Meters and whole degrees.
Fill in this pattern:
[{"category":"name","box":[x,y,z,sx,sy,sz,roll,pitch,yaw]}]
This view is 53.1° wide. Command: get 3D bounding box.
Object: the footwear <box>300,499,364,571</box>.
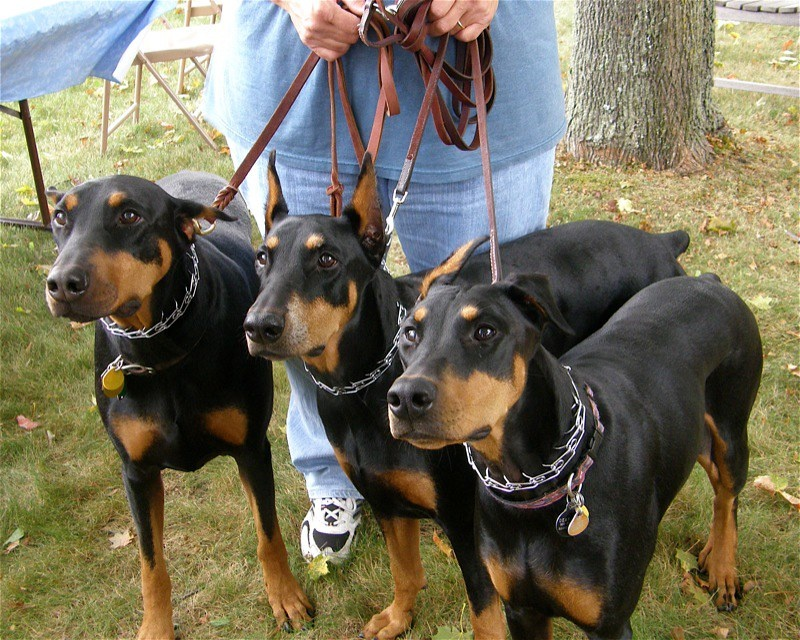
[{"category":"footwear","box":[-0.428,1.231,4.794,0.173,0.253,0.597,4,60,6]}]
